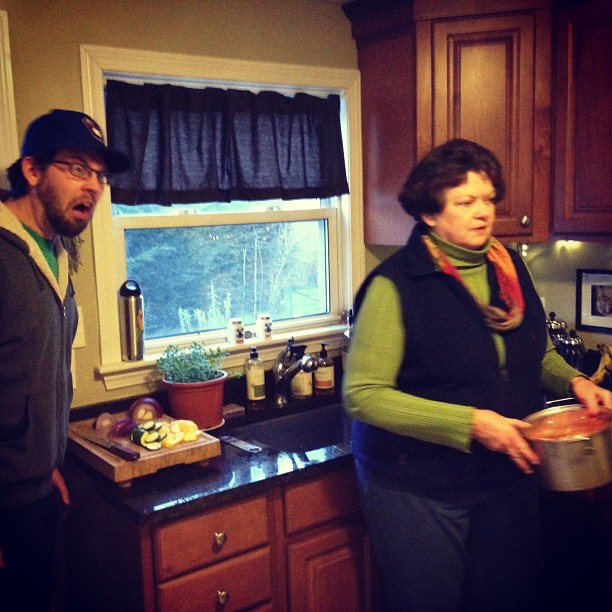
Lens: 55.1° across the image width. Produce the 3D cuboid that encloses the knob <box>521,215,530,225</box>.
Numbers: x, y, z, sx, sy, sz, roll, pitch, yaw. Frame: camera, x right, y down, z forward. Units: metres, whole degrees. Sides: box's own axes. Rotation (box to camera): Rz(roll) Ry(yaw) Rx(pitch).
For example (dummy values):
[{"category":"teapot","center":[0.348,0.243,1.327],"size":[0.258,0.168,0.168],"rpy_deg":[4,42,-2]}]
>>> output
[{"category":"knob","center":[0.823,-0.316,2.187],"size":[0.021,0.030,0.010],"rpy_deg":[-3,0,10]}]

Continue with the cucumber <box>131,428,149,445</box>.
[{"category":"cucumber","center":[-0.472,0.371,1.661],"size":[0.041,0.040,0.035],"rpy_deg":[-8,1,38]}]

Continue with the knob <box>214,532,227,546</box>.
[{"category":"knob","center":[-0.226,0.612,1.546],"size":[0.024,0.025,0.032],"rpy_deg":[0,-4,2]}]

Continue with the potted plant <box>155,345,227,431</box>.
[{"category":"potted plant","center":[-0.394,0.261,2.066],"size":[0.260,0.327,0.253],"rpy_deg":[-2,-3,-18]}]

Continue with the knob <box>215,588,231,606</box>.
[{"category":"knob","center":[-0.220,0.776,1.568],"size":[0.034,0.039,0.044],"rpy_deg":[1,-1,2]}]

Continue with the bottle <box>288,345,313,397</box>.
[{"category":"bottle","center":[-0.021,0.258,2.372],"size":[0.093,0.192,0.127],"rpy_deg":[-5,7,-1]}]

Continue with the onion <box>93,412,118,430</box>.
[{"category":"onion","center":[-0.649,0.366,1.882],"size":[0.040,0.019,0.061],"rpy_deg":[-1,8,-2]}]

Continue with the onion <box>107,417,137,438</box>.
[{"category":"onion","center":[-0.549,0.367,1.748],"size":[0.055,0.033,0.067],"rpy_deg":[-24,11,-17]}]

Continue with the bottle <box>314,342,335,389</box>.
[{"category":"bottle","center":[0.076,0.248,2.397],"size":[0.105,0.216,0.112],"rpy_deg":[-1,-5,0]}]

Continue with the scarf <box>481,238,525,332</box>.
[{"category":"scarf","center":[0.487,-0.039,1.454],"size":[0.114,0.214,0.043],"rpy_deg":[1,-24,-11]}]
